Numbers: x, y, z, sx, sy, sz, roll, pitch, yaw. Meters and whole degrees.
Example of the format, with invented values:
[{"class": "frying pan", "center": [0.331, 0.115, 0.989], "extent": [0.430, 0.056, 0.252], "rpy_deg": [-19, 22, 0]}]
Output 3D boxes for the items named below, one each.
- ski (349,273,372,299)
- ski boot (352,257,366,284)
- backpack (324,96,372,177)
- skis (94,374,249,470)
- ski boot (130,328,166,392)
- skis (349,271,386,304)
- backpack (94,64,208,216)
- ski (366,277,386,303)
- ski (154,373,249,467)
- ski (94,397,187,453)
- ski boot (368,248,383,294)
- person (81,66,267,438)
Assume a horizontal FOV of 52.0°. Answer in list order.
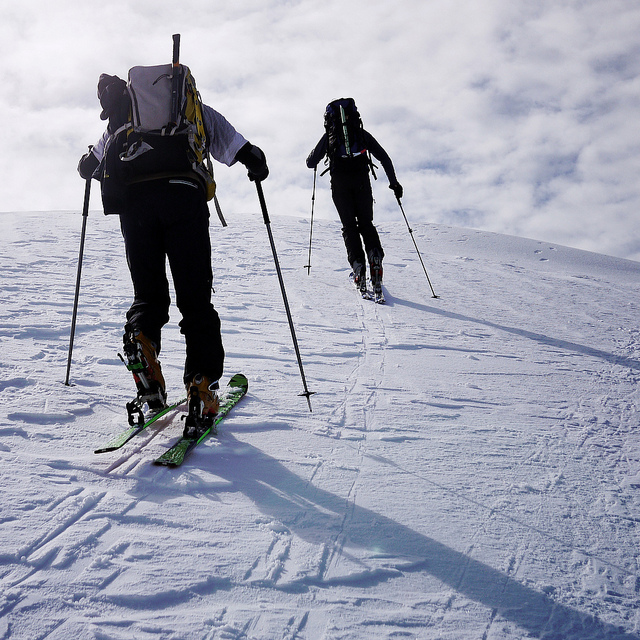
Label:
[{"class": "ski", "center": [0.480, -0.401, 7.936], "extent": [0.153, 0.071, 1.006], "rpy_deg": [-7, -15, 6]}, {"class": "ski boot", "center": [0.450, -0.565, 7.688], "extent": [0.156, 0.329, 0.230], "rpy_deg": [5, 13, 1]}, {"class": "backpack", "center": [0.320, -2.028, 7.352], "extent": [0.578, 0.855, 0.294], "rpy_deg": [4, 14, -1]}, {"class": "skis", "center": [-0.649, 0.524, 3.423], "extent": [0.240, 0.115, 0.736], "rpy_deg": [6, 15, 13]}, {"class": "ski boot", "center": [-0.884, 0.206, 3.396], "extent": [0.110, 0.309, 0.163], "rpy_deg": [-21, -1, 13]}, {"class": "skis", "center": [0.563, -0.369, 7.689], "extent": [0.213, 0.120, 0.653], "rpy_deg": [-21, 45, -4]}, {"class": "backpack", "center": [-0.784, -0.927, 3.527], "extent": [0.697, 0.797, 0.516], "rpy_deg": [8, 11, 33]}, {"class": "ski", "center": [0.661, -0.299, 7.586], "extent": [0.135, 0.160, 0.389], "rpy_deg": [-11, 36, -1]}, {"class": "ski", "center": [-0.604, 0.479, 3.485], "extent": [0.128, 0.168, 0.881], "rpy_deg": [8, 16, 5]}, {"class": "ski", "center": [-0.897, 0.537, 3.324], "extent": [0.083, 0.042, 0.599], "rpy_deg": [4, 24, 29]}, {"class": "ski boot", "center": [0.636, -0.539, 7.517], "extent": [0.175, 0.466, 0.225], "rpy_deg": [-2, -11, 1]}, {"class": "person", "center": [-0.777, -0.479, 3.602], "extent": [1.131, 1.965, 0.859], "rpy_deg": [-3, -13, 4]}]
